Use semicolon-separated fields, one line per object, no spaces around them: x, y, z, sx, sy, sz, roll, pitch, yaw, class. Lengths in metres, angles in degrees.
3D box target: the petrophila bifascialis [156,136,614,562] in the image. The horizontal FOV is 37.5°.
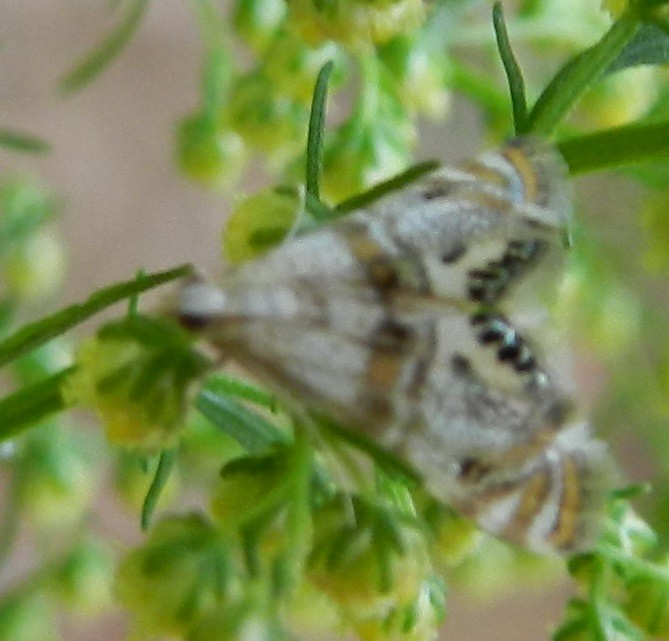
0.022;0.003;0.376;0.148;0.038;0.128;2;97;1;petrophila bifascialis
